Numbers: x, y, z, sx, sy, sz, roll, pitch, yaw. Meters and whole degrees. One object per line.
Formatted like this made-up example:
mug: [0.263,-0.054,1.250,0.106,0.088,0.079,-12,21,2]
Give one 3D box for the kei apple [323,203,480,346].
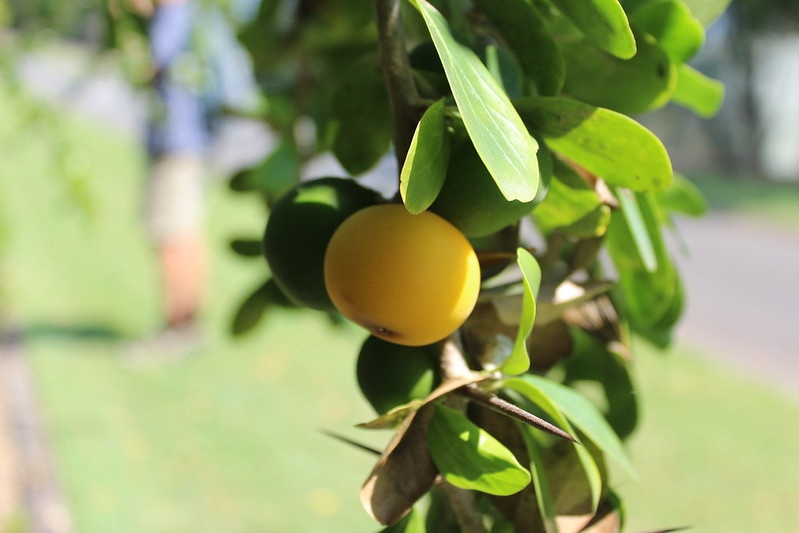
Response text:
kei apple: [-0.012,0.004,1.058,0.178,0.170,0.196,1,5,-4]
